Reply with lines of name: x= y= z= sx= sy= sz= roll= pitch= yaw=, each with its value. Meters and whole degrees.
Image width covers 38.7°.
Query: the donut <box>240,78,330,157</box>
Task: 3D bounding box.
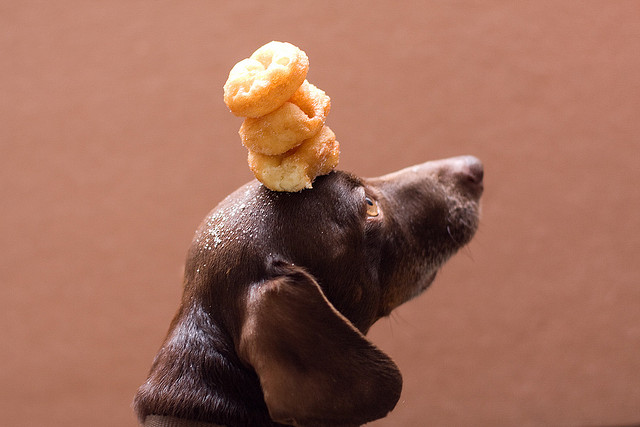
donut: x=-0.150 y=-0.335 z=4.051 sx=0.183 sy=0.520 sz=0.514 roll=14 pitch=-73 yaw=16

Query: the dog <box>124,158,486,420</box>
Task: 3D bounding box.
dog: x=-0.119 y=0.329 z=4.236 sx=1.359 sy=1.103 sz=1.063 roll=-9 pitch=-84 yaw=-16

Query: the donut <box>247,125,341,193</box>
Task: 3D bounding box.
donut: x=-0.125 y=-0.252 z=4.033 sx=0.429 sy=0.455 sz=0.175 roll=-9 pitch=-64 yaw=2

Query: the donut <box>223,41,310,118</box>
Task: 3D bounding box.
donut: x=-0.229 y=-0.564 z=3.830 sx=0.379 sy=0.191 sz=0.207 roll=-24 pitch=-56 yaw=4
